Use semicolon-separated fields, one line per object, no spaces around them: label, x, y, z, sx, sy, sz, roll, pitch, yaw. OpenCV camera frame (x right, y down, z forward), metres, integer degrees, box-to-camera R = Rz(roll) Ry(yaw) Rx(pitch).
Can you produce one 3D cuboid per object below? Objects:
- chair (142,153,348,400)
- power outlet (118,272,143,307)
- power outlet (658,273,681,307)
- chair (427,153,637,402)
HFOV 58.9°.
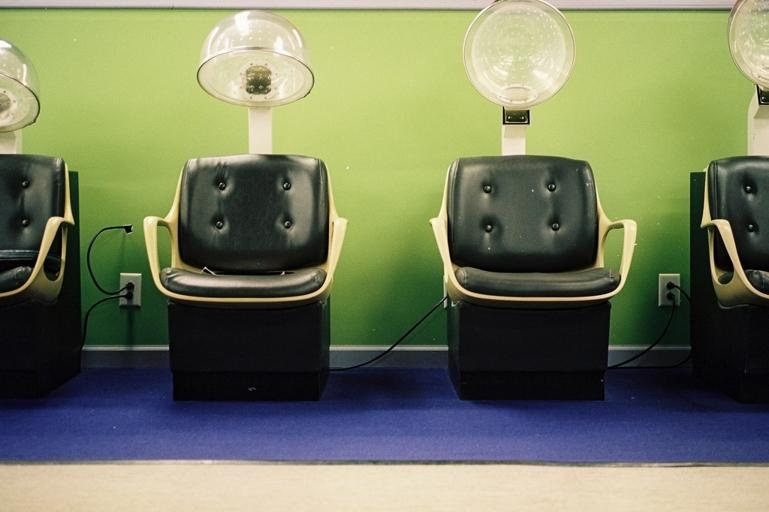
chair;-0.679;0.082;3.310;0.908;1.084;0.712;-2;11;-18
power outlet;-1.391;0.186;3.696;0.129;0.178;0.018;2;1;2
power outlet;1.551;0.186;3.690;0.063;0.176;0.125;3;-4;-40
chair;0.709;0.088;3.361;0.933;1.117;0.936;2;8;12
